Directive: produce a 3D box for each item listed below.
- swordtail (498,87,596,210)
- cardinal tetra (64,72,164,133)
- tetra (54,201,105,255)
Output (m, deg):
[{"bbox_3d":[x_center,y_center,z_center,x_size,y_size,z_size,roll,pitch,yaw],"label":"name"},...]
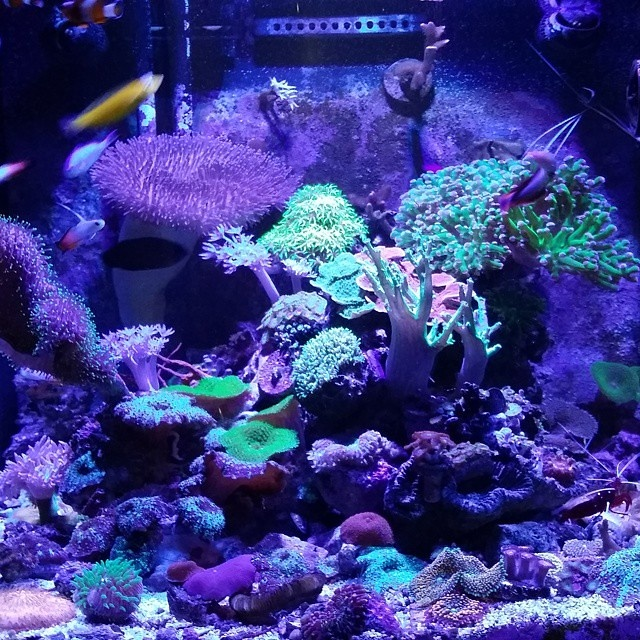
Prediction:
[{"bbox_3d":[1.469,-1.067,4.729,0.308,0.360,2.021,12,24,17],"label":"swordtail"},{"bbox_3d":[-1.206,-1.328,4.387,0.538,0.445,0.422,-5,20,-5],"label":"cardinal tetra"},{"bbox_3d":[-1.447,-0.503,4.391,0.369,0.159,0.113,-27,22,9],"label":"tetra"}]
